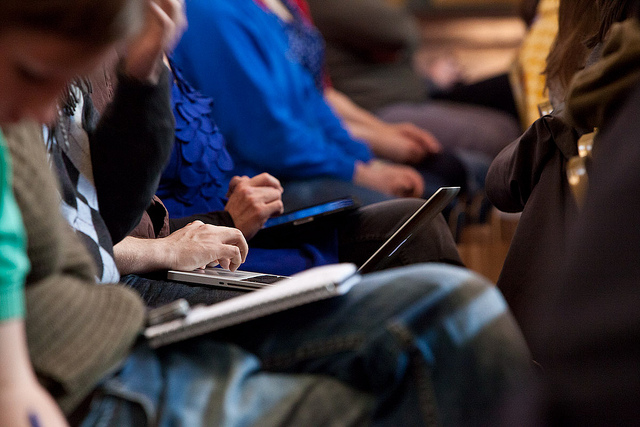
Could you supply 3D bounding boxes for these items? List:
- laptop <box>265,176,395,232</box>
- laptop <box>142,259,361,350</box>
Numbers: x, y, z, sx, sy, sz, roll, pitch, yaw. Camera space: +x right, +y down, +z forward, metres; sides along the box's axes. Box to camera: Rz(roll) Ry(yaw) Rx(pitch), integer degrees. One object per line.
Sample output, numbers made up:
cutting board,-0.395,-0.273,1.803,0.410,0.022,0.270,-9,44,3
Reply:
laptop,0.010,-0.030,1.623,0.494,0.055,0.281,-13,7,13
laptop,-0.095,0.119,0.736,0.197,0.021,0.270,-21,-8,42
